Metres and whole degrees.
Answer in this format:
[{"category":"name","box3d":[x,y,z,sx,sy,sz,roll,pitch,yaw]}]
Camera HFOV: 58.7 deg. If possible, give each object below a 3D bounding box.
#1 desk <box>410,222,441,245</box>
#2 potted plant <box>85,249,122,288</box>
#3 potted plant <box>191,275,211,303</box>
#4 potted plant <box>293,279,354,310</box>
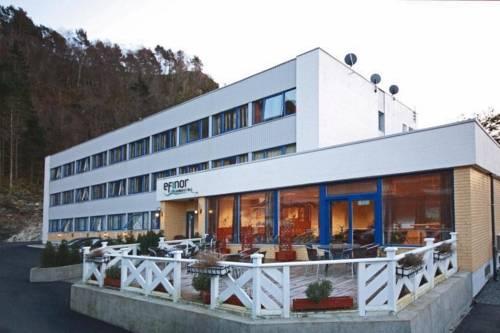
[{"category":"desk","box3d":[6.883,2.707,17.656,0.960,0.727,0.548,-1,-16,38]},{"category":"potted plant","box3d":[-5.825,3.842,17.204,1.572,1.448,0.625,-11,-16,41]},{"category":"potted plant","box3d":[-1.470,3.872,14.402,0.709,0.985,0.898,3,-10,-19]},{"category":"potted plant","box3d":[2.153,3.842,13.322,1.755,0.915,0.456,3,-12,-11]}]
